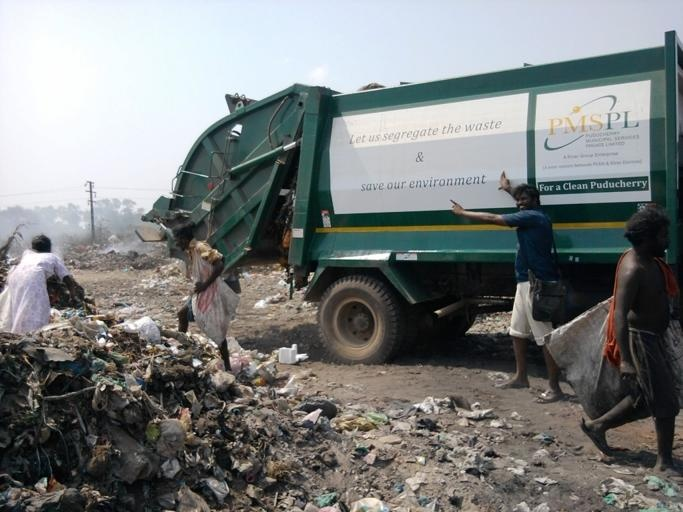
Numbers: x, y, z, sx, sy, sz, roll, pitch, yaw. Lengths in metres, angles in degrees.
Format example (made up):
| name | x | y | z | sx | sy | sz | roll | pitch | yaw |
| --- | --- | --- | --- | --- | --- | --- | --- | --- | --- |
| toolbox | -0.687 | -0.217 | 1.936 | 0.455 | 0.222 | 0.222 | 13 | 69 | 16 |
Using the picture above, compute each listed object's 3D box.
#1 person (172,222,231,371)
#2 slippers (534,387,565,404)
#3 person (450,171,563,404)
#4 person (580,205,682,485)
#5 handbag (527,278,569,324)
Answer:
| name | x | y | z | sx | sy | sz | roll | pitch | yaw |
| --- | --- | --- | --- | --- | --- | --- | --- | --- | --- |
| person | -1.320 | 0.475 | 5.562 | 0.813 | 1.223 | 0.395 | 7 | 7 | 39 |
| slippers | 2.072 | 1.401 | 5.370 | 0.291 | 0.118 | 0.118 | 1 | -10 | -10 |
| person | 1.847 | 0.282 | 5.463 | 0.875 | 2.289 | 0.704 | 7 | 7 | 40 |
| person | 2.257 | 0.602 | 4.063 | 0.636 | 1.962 | 0.399 | 5 | 6 | 25 |
| handbag | 2.057 | 0.405 | 5.322 | 0.332 | 0.458 | 0.273 | 4 | 15 | 25 |
